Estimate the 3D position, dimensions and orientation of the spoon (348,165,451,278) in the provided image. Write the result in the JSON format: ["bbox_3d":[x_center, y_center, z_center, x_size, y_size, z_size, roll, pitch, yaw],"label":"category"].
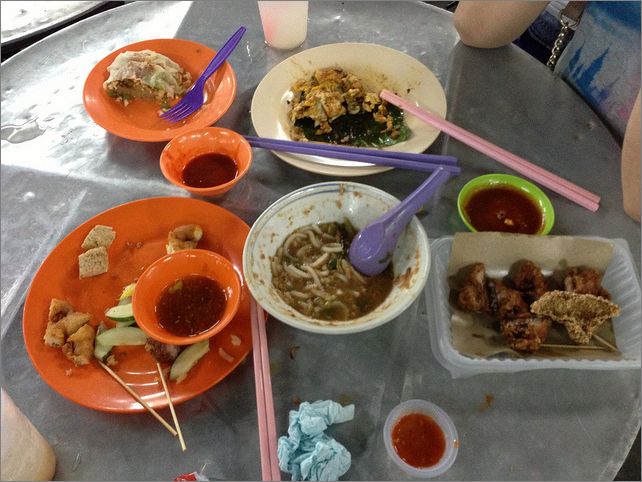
[{"bbox_3d":[0.416,-0.085,2.911,0.185,0.204,0.676,44,92,-4],"label":"spoon"}]

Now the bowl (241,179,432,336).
[{"bbox_3d":[0.057,0.022,2.678,0.801,0.226,0.849,-1,62,1],"label":"bowl"}]

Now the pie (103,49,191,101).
[{"bbox_3d":[-1.129,-1.124,3.741,0.549,0.326,0.507,15,36,17],"label":"pie"}]

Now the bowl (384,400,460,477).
[{"bbox_3d":[0.486,0.959,2.643,0.370,0.057,0.336,1,73,-4],"label":"bowl"}]

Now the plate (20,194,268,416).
[{"bbox_3d":[-0.940,0.384,2.934,1.049,0.154,1.098,-10,62,-9],"label":"plate"}]

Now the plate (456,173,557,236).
[{"bbox_3d":[1.040,-0.221,3.094,0.515,0.117,0.365,7,73,-2],"label":"plate"}]

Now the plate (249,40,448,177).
[{"bbox_3d":[0.126,-0.987,3.530,1.024,0.146,1.058,-23,61,-16],"label":"plate"}]
